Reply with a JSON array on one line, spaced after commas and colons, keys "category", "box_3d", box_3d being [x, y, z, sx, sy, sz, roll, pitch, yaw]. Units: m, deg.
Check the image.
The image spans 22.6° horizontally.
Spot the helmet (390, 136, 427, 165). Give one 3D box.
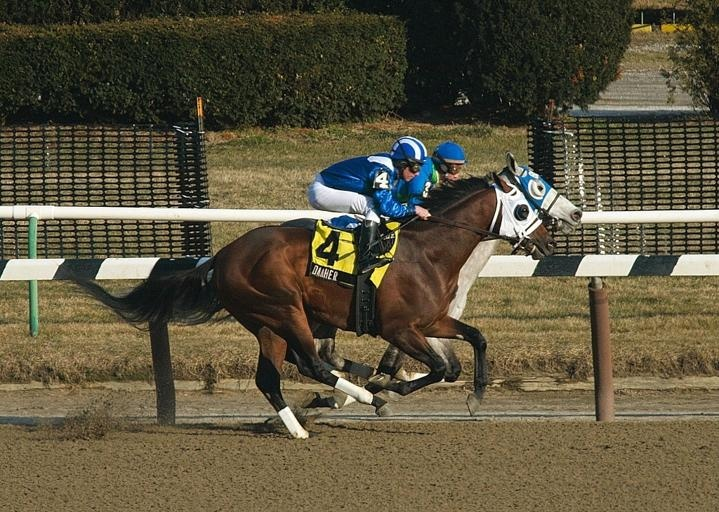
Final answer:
[{"category": "helmet", "box_3d": [0.601, -1.286, 21.218, 0.365, 0.283, 0.284, 23, 16, 12]}]

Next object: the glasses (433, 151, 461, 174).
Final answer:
[{"category": "glasses", "box_3d": [1.054, -1.115, 21.419, 0.286, 0.157, 0.227, 25, 6, 11]}]

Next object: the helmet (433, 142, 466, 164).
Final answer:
[{"category": "helmet", "box_3d": [1.084, -1.253, 21.394, 0.303, 0.161, 0.236, 8, 16, 2]}]
